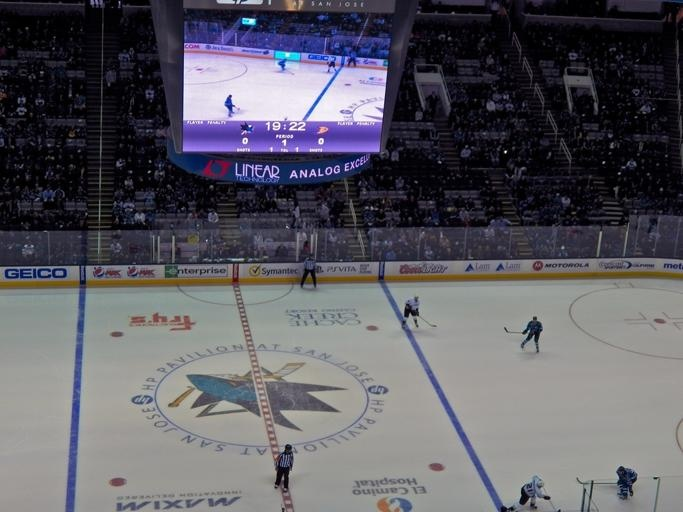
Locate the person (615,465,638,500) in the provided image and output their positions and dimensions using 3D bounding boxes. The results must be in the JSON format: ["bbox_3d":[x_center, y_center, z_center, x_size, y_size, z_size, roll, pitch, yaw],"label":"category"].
[{"bbox_3d":[8.029,6.350,25.878,0.769,0.948,0.514,-1,3,-6],"label":"person"}]

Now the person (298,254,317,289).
[{"bbox_3d":[-1.299,0.618,39.025,0.715,1.405,0.890,0,18,-3],"label":"person"}]

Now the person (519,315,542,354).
[{"bbox_3d":[7.134,2.809,34.241,0.679,1.356,0.483,8,23,14],"label":"person"}]

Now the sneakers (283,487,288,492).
[{"bbox_3d":[-1.544,6.712,26.652,0.084,0.149,0.080,7,23,7],"label":"sneakers"}]

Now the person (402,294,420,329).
[{"bbox_3d":[2.793,2.018,35.960,0.674,1.264,1.007,2,18,4],"label":"person"}]

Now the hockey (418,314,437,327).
[{"bbox_3d":[3.474,2.504,36.141,0.421,0.267,0.895,-10,21,-32],"label":"hockey"}]

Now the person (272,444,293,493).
[{"bbox_3d":[-1.576,6.016,26.568,0.503,1.392,0.356,4,15,-12],"label":"person"}]
